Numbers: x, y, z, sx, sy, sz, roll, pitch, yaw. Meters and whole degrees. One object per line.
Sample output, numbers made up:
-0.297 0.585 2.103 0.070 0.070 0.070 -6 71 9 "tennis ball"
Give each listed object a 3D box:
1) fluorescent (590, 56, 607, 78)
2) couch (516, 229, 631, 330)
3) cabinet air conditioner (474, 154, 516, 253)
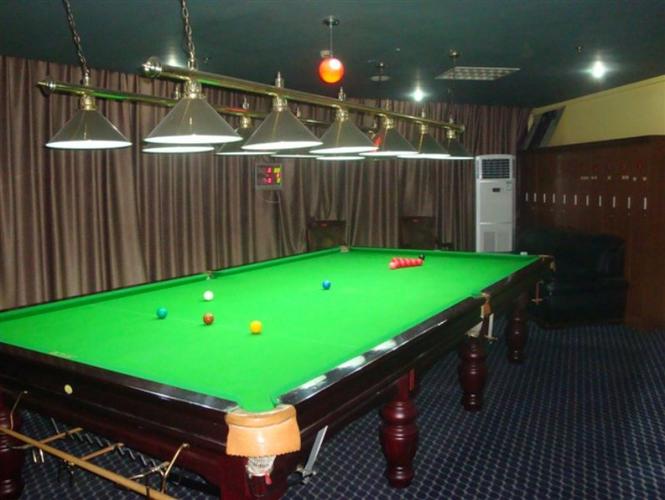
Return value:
2.795 -1.901 5.974 0.146 0.200 0.145 0 22 20 "fluorescent"
2.616 0.265 6.275 1.065 1.105 1.064 -1 -4 21 "couch"
2.240 -0.620 7.803 0.511 1.334 0.448 1 14 9 "cabinet air conditioner"
